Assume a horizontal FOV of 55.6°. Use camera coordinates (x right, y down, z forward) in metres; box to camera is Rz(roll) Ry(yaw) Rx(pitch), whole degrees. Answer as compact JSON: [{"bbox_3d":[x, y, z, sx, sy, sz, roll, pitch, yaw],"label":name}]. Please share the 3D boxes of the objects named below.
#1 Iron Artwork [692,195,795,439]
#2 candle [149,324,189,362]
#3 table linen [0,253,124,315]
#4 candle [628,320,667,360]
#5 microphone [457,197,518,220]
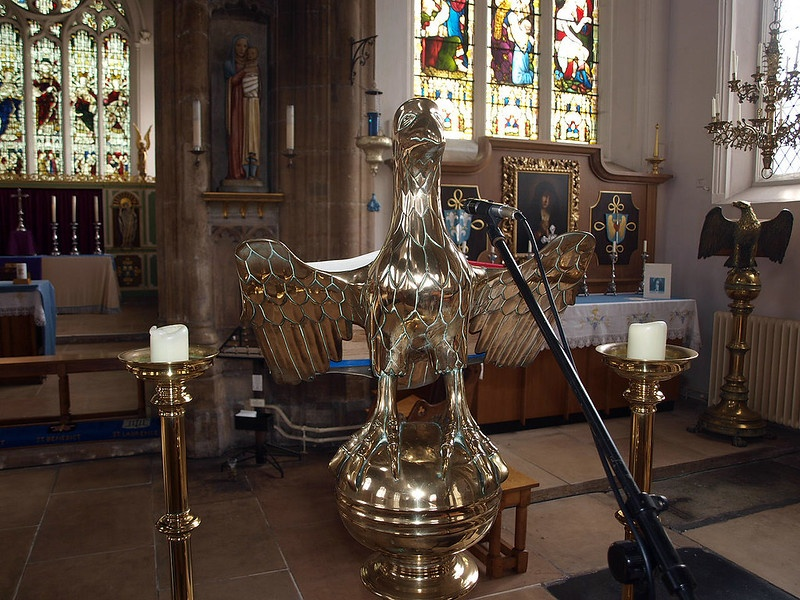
[{"bbox_3d":[3.164,0.168,7.076,0.797,2.173,0.702,-9,11,-36],"label":"Iron Artwork"},{"bbox_3d":[-0.979,0.186,3.217,0.148,0.170,0.150,-9,18,-32],"label":"candle"},{"bbox_3d":[-4.774,-0.210,11.387,1.202,0.844,0.872,0,-1,-8],"label":"table linen"},{"bbox_3d":[1.059,0.173,3.247,0.146,0.173,0.153,2,-5,-6],"label":"candle"},{"bbox_3d":[0.352,-0.396,3.138,0.090,0.103,0.281,13,5,-34],"label":"microphone"}]
